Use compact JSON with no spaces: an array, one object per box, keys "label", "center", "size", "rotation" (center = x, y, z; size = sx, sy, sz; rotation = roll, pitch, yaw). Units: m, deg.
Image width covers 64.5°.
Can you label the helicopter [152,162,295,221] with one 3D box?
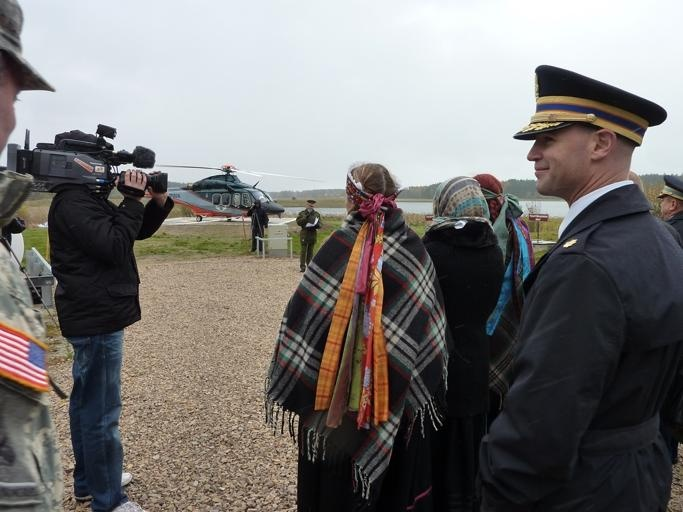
[{"label":"helicopter","center":[-7.148,-3.529,32.176],"size":[7.507,2.537,6.798],"rotation":[3,8,19]}]
